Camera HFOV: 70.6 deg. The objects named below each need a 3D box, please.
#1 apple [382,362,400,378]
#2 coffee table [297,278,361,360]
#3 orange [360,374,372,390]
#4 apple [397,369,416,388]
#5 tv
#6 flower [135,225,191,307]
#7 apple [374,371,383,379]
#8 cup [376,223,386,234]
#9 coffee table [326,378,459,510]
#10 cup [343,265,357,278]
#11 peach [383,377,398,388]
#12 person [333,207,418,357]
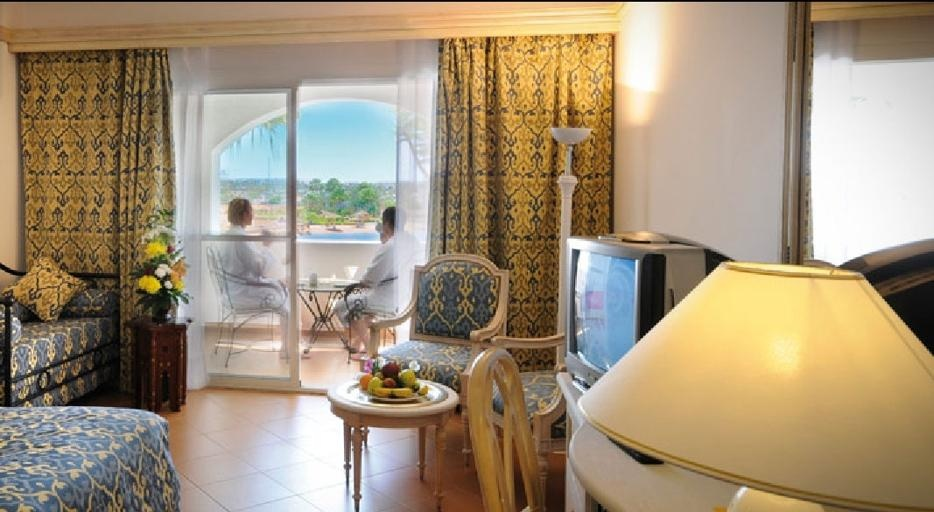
[{"bbox_3d":[-0.531,0.798,4.694,0.109,0.116,0.100,15,-8,15],"label":"apple"},{"bbox_3d":[-1.522,0.644,7.120,0.849,0.845,0.837,0,0,-21],"label":"coffee table"},{"bbox_3d":[-0.723,0.884,4.709,0.098,0.091,0.099,15,0,-13],"label":"orange"},{"bbox_3d":[-0.416,0.848,4.582,0.113,0.103,0.108,3,-4,-9],"label":"apple"},{"bbox_3d":[0.923,0.627,4.252,0.982,1.457,1.615,0,1,-5],"label":"tv"},{"bbox_3d":[-2.839,0.101,6.138,0.440,0.782,0.569,-6,8,-26],"label":"flower"},{"bbox_3d":[-0.624,0.842,4.696,0.041,0.026,0.046,2,-4,-34],"label":"apple"},{"bbox_3d":[-0.845,-0.280,6.390,0.091,0.111,0.117,2,-19,-3],"label":"cup"},{"bbox_3d":[-0.515,1.292,4.698,0.909,0.664,0.881,1,-4,0],"label":"coffee table"},{"bbox_3d":[-1.245,0.164,7.041,0.209,0.149,0.199,1,-2,0],"label":"cup"},{"bbox_3d":[-0.532,0.875,4.579,0.073,0.031,0.072,16,-6,-40],"label":"peach"},{"bbox_3d":[-0.910,0.267,6.498,0.833,1.469,0.659,6,16,8],"label":"person"}]
